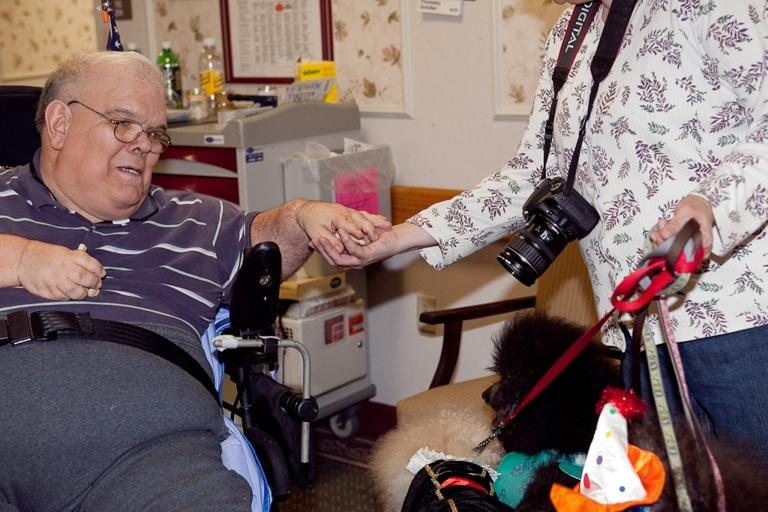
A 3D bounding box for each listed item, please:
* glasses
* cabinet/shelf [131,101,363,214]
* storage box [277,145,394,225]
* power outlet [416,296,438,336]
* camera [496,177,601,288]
[{"bbox_3d":[-0.672,-0.335,1.573,0.167,0.054,0.164,24,1,33],"label":"glasses"},{"bbox_3d":[-0.532,-0.415,2.514,0.715,0.400,0.508,5,11,40],"label":"cabinet/shelf"},{"bbox_3d":[-0.194,-0.206,2.528,0.237,0.476,0.478,8,19,35],"label":"storage box"},{"bbox_3d":[0.194,0.264,2.644,0.024,0.243,0.164,-5,10,-35],"label":"power outlet"},{"bbox_3d":[0.378,-0.067,1.440,0.152,0.260,0.201,43,7,-18],"label":"camera"}]
